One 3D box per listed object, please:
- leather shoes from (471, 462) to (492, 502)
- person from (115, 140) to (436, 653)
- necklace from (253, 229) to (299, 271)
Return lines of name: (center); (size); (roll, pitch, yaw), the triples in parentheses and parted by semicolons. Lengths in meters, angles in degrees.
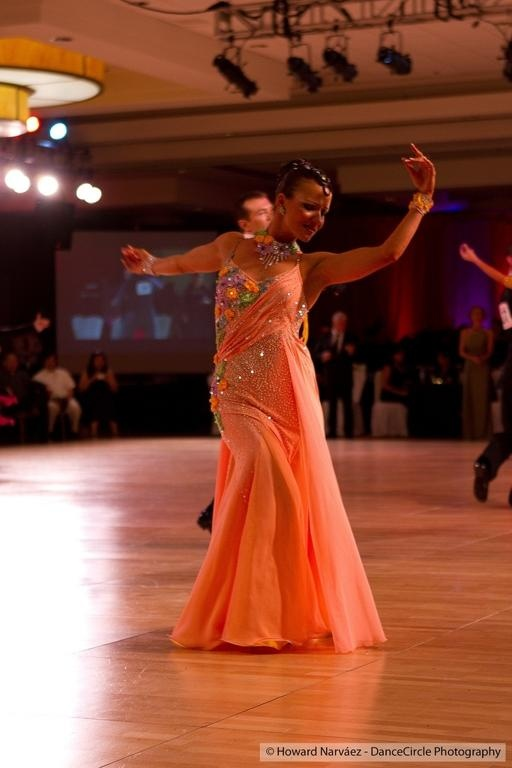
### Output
leather shoes: (1.622, 0.694, 5.388); (0.113, 0.295, 0.102); (0, 1, 18)
person: (0.042, 0.043, 2.203); (0.654, 1.407, 0.468); (0, 1, 16)
necklace: (0.059, -0.397, 2.222); (0.118, 0.041, 0.115); (28, 25, 0)
